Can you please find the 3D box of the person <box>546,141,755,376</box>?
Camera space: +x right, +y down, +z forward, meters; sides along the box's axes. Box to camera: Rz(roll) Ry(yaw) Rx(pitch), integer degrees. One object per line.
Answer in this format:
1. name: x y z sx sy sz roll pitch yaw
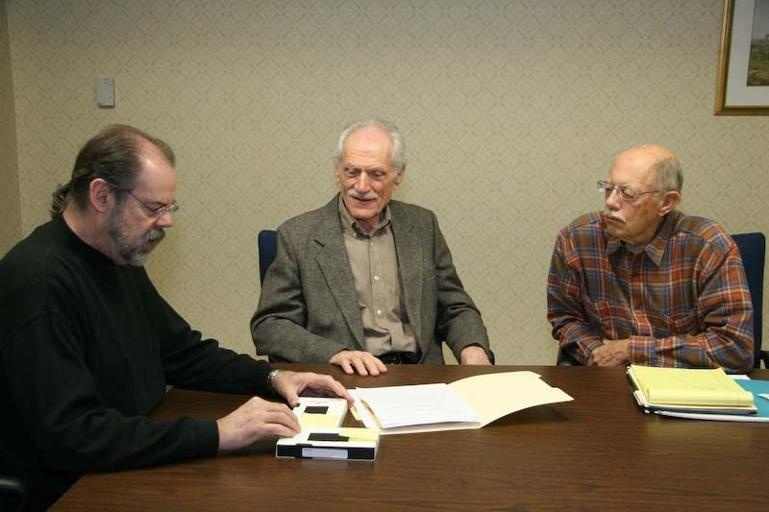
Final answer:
1. person: 1.256 0.035 2.837 0.664 1.086 1.097 -12 15 -34
